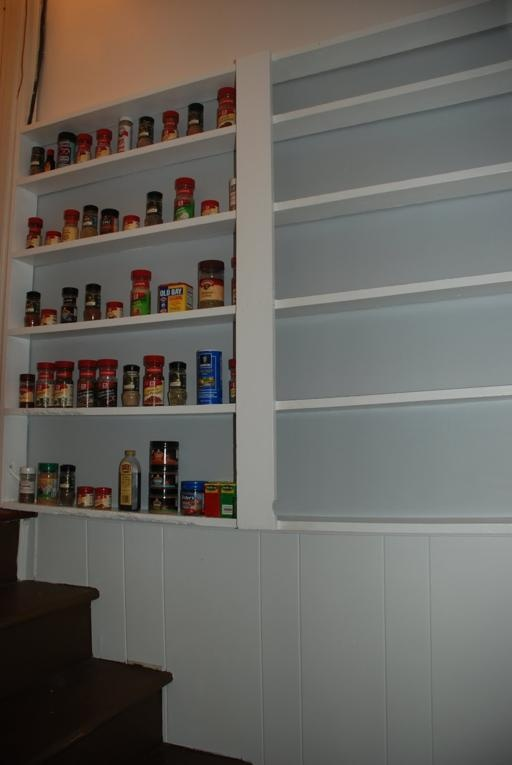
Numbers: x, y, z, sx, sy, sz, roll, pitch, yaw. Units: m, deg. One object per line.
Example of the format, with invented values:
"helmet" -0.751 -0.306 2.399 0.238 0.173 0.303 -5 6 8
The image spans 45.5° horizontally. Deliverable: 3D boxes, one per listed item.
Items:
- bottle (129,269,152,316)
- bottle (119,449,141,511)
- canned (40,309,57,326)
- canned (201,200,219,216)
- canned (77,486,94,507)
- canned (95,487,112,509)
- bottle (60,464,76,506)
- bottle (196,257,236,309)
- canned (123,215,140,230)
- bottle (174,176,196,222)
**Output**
"bottle" -0.317 -0.245 1.688 0.047 0.145 0.086 2 -10 -17
"bottle" -0.344 0.266 1.673 0.057 0.163 0.149 1 -9 -11
"canned" -0.625 -0.195 1.845 0.051 0.062 0.053 1 -11 -15
"canned" -0.125 -0.461 1.653 0.046 0.038 0.048 4 6 30
"canned" -0.460 0.319 1.701 0.048 0.059 0.051 -1 -16 -1
"canned" -0.416 0.315 1.667 0.043 0.056 0.049 2 -10 -19
"bottle" -0.548 0.297 1.781 0.046 0.121 0.120 2 -10 -17
"bottle" -0.118 -0.251 1.614 0.068 0.128 0.071 -1 -9 0
"canned" -0.352 -0.453 1.733 0.045 0.054 0.046 -1 3 -22
"bottle" -0.198 -0.494 1.697 0.058 0.153 0.141 0 -9 -7
